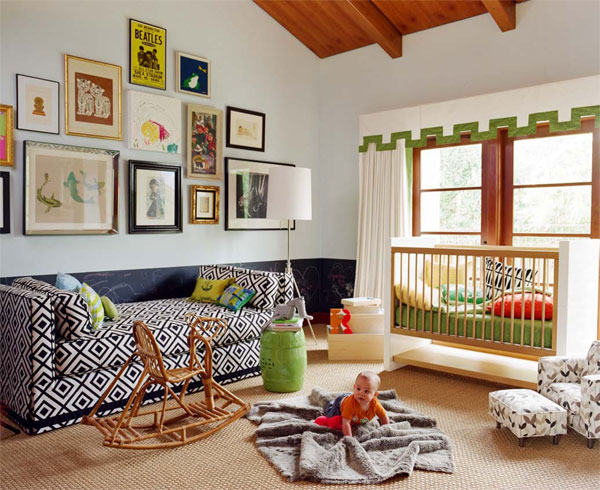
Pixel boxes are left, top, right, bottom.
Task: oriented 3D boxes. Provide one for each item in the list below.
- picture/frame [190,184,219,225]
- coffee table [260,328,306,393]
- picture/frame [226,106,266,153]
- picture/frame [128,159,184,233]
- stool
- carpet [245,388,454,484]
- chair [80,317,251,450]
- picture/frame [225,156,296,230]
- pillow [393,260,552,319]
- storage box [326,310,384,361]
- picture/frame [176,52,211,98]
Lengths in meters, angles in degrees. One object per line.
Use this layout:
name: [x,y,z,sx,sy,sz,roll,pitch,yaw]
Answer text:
picture/frame: [-0.976,-0.411,4.611,0.045,0.483,0.389,0,-1,32]
coffee table: [-0.131,0.877,3.655,0.402,0.473,0.383,1,-1,-39]
picture/frame: [-0.608,-1.244,4.921,0.505,0.478,0.037,-1,2,-45]
picture/frame: [-1.359,-0.453,4.244,0.080,0.959,0.633,0,0,44]
stool: [1.375,1.019,2.788,0.327,0.214,0.337,0,8,-2]
carpet: [0.259,1.119,2.734,1.219,0.120,0.924,2,9,11]
chair: [-0.855,0.828,2.932,1.110,0.926,0.542,-4,6,-37]
picture/frame: [-0.455,-0.541,4.782,0.025,0.676,0.715,5,7,40]
pillow: [1.503,0.397,3.838,0.873,0.501,0.684,0,1,41]
storage box: [0.543,0.819,4.344,0.398,0.314,0.459,0,-3,-3]
picture/frame: [-1.063,-1.667,4.485,0.064,0.489,0.469,-1,0,38]
